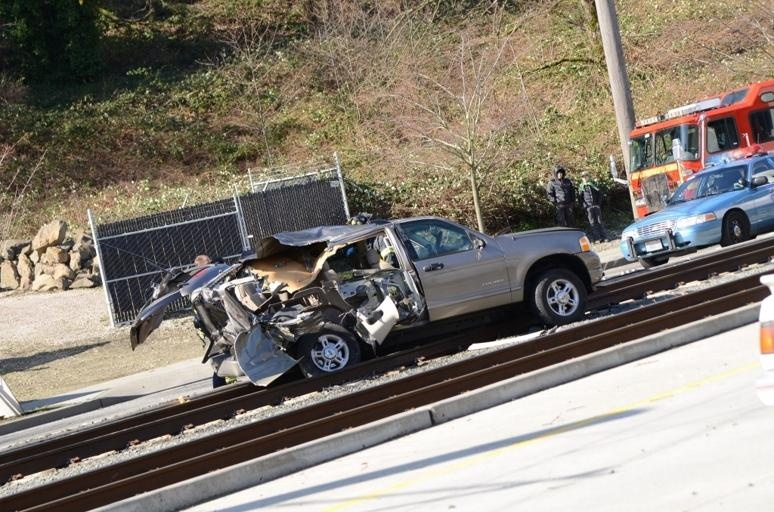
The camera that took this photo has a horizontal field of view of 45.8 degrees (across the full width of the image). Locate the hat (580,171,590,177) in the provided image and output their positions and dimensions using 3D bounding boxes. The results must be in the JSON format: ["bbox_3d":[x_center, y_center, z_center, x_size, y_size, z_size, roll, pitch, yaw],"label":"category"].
[{"bbox_3d":[6.569,-2.776,30.310,0.373,0.242,0.492,1,6,-5],"label":"hat"}]
